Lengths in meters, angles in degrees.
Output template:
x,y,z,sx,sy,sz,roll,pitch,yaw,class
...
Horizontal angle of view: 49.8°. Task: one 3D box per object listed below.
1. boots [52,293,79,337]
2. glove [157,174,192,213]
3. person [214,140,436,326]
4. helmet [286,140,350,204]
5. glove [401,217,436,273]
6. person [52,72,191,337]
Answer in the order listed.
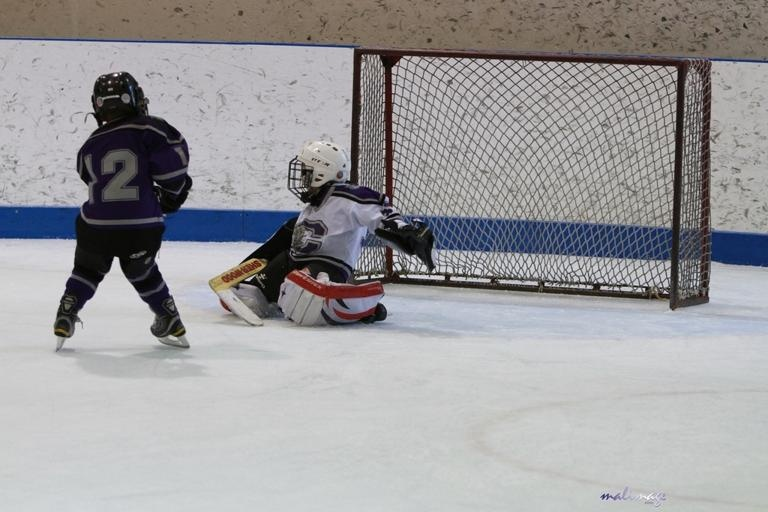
x,y,z,sx,sy,sz,roll,pitch,yaw,class
-1.511,0.270,3.931,0.099,0.180,0.285,15,-2,-23,boots
-1.028,-0.299,4.071,0.170,0.188,0.078,-1,21,-16,glove
-0.375,-0.137,4.886,0.930,1.017,1.713,-3,4,-35,person
-0.362,-0.490,4.858,0.387,0.300,0.280,2,3,16,helmet
0.190,-0.059,4.511,0.117,0.132,0.307,-20,49,-17,glove
-1.227,-0.110,3.913,0.604,1.086,0.363,0,15,-12,person
